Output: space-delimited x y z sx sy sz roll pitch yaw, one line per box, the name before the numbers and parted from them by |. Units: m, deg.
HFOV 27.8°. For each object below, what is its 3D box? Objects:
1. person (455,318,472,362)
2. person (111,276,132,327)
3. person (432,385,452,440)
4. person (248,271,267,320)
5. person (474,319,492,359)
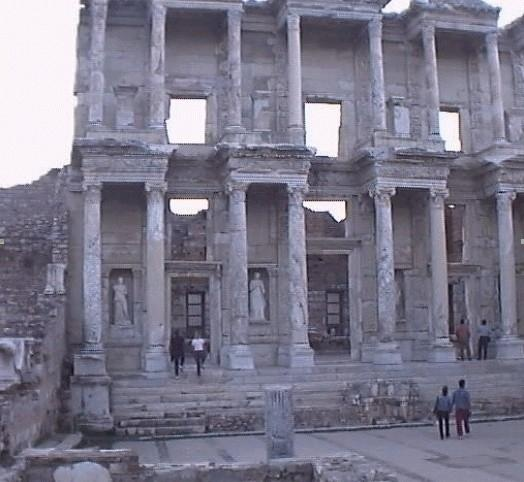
person | 6.653 3.277 35.111 0.451 1.444 2.113 -3 -10 11
person | -4.399 1.877 33.155 0.575 1.594 0.473 0 -9 -10
person | 4.643 4.430 27.251 0.477 1.339 1.752 -3 -9 9
person | -0.104 1.786 33.921 0.622 1.636 0.406 1 -9 -11
person | 7.222 3.226 34.574 0.428 1.381 1.488 -3 -9 11
